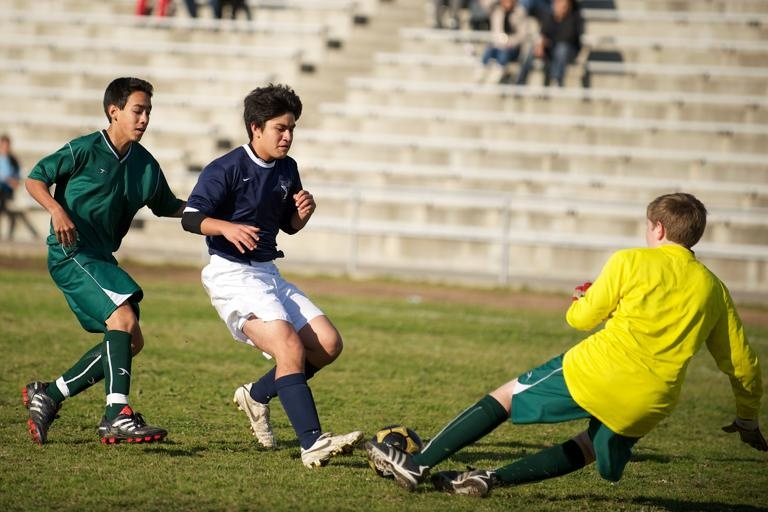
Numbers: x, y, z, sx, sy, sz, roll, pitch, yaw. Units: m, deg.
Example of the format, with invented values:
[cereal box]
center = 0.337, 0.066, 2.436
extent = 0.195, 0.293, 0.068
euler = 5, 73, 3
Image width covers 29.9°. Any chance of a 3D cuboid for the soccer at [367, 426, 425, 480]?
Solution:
[soccer]
center = 0.055, 2.546, 18.148
extent = 0.628, 0.560, 0.655
euler = -2, 25, 44
